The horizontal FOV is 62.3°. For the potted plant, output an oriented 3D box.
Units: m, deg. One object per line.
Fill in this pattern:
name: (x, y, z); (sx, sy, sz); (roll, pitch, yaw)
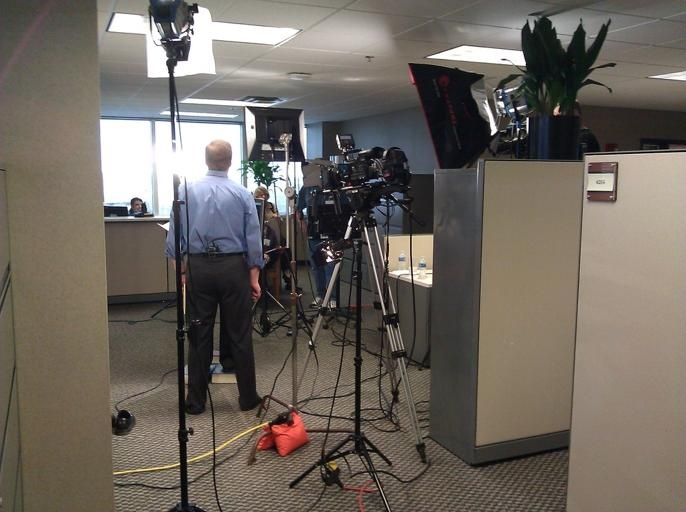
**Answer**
potted plant: (1.227, -0.916, 3.242); (0.614, 0.752, 0.581); (2, 14, 37)

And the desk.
desk: (0.574, 0.449, 4.853); (0.286, 0.558, 0.422); (12, 8, 10)

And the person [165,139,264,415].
person: (-0.818, 0.148, 3.642); (0.597, 1.810, 0.985); (-3, 6, -6)

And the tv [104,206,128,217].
tv: (-3.117, -0.614, 7.767); (0.352, 0.135, 0.177); (-2, 6, 0)

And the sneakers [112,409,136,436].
sneakers: (-0.962, 0.738, 2.536); (0.116, 0.094, 0.097); (-4, -7, 14)
